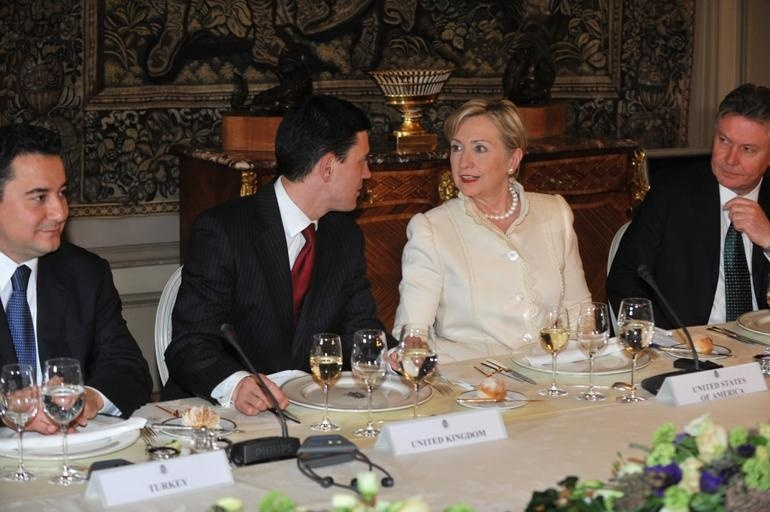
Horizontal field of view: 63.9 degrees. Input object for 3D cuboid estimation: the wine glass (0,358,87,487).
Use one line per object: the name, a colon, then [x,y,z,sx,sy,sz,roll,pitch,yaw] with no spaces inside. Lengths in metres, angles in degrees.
wine glass: [-0.813,0.382,1.474,0.168,0.237,0.275,-6,3,-32]

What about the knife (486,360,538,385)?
knife: [0.417,0.372,2.047,0.049,0.011,0.241,-6,9,-20]

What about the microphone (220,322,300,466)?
microphone: [-0.381,0.404,1.824,0.194,0.400,0.207,-28,-25,33]

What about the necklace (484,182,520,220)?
necklace: [0.573,-0.250,2.893,0.159,0.188,0.041,-12,-30,24]

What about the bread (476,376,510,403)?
bread: [0.325,0.398,1.864,0.068,0.047,0.065,6,12,-12]

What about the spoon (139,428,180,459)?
spoon: [-0.572,0.455,1.554,0.069,0.038,0.101,-1,7,-40]

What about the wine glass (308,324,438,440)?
wine glass: [-0.032,0.362,1.725,0.308,0.231,0.091,0,-3,-5]

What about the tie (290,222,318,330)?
tie: [-0.301,0.068,2.360,0.068,0.389,0.057,16,-19,-10]

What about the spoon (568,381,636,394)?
spoon: [0.685,0.415,1.955,0.123,0.018,0.062,3,6,7]
